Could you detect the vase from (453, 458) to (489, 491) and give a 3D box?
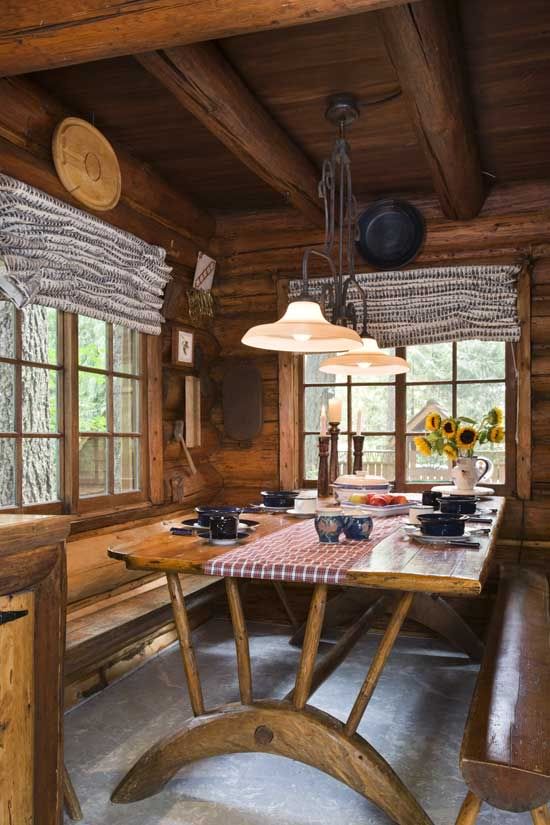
[{"bbox_3d":[1.083,0.343,3.597,0.257,0.227,0.160,-1,-3,6],"label":"vase"}]

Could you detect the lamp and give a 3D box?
[{"bbox_3d":[0.351,-1.088,3.713,0.587,1.437,1.423,1,-1,20],"label":"lamp"}]

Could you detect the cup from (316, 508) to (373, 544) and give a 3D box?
[{"bbox_3d":[0.244,0.395,2.244,0.184,0.081,0.117,-1,-1,2],"label":"cup"}]

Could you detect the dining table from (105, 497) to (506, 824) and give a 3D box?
[{"bbox_3d":[0.049,0.912,2.125,1.266,0.958,0.749,-1,-4,20],"label":"dining table"}]

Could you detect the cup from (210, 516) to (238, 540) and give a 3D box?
[{"bbox_3d":[-0.176,0.396,2.203,0.087,0.061,0.085,0,-3,0],"label":"cup"}]

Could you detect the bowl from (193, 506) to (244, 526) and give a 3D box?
[{"bbox_3d":[-0.227,0.399,2.556,0.131,0.049,0.131,1,-1,0],"label":"bowl"}]

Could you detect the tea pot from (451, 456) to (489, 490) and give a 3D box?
[{"bbox_3d":[1.141,0.337,3.591,0.261,0.228,0.162,-1,-4,5],"label":"tea pot"}]

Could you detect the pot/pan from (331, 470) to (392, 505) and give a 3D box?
[{"bbox_3d":[0.414,0.360,3.179,0.217,0.114,0.187,0,-7,2],"label":"pot/pan"}]
